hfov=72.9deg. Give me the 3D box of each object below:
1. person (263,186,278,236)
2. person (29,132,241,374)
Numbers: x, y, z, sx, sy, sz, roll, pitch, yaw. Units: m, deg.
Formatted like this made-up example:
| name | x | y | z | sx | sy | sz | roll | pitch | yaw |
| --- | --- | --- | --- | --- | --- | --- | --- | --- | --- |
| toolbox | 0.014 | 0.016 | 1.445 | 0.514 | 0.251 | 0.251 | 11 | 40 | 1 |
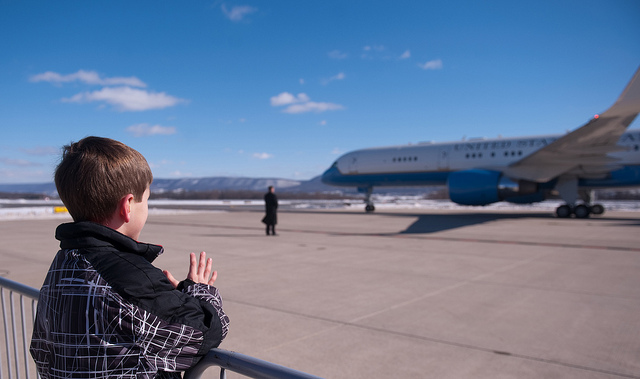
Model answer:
| name | x | y | z | sx | sy | sz | roll | pitch | yaw |
| --- | --- | --- | --- | --- | --- | --- | --- | --- | --- |
| person | -1.833 | 0.878 | 16.308 | 0.515 | 1.583 | 0.923 | -4 | 6 | -4 |
| person | -1.596 | 0.573 | 3.545 | 1.358 | 2.023 | 0.819 | -6 | 7 | -30 |
